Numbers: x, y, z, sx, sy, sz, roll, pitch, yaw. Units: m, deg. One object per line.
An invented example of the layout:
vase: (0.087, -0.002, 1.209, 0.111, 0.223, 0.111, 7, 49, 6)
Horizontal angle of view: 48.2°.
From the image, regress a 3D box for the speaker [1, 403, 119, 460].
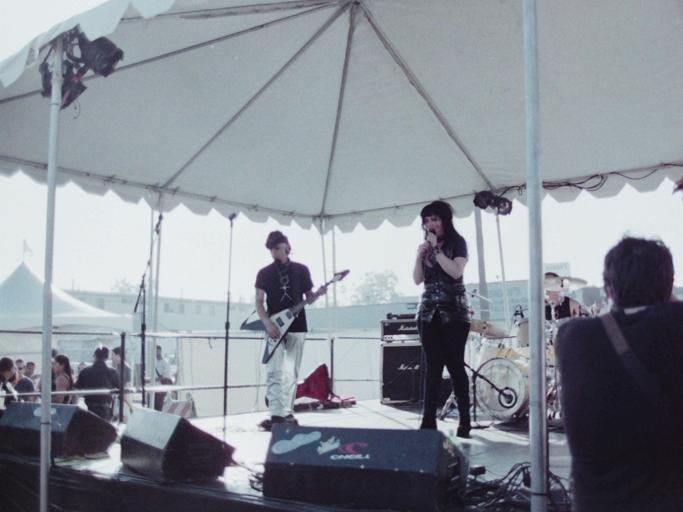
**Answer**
speaker: (-2.259, 1.363, 6.231, 0.728, 0.563, 0.613, -2, -9, 12)

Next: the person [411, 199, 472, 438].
person: (0.851, 0.491, 6.323, 0.480, 1.941, 0.573, 1, -9, -3)

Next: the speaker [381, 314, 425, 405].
speaker: (0.695, 1.180, 8.705, 0.463, 1.043, 0.459, 1, 1, 5)

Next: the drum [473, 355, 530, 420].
drum: (1.522, 1.241, 7.286, 0.416, 0.627, 0.418, 2, 1, 0)

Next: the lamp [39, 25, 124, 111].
lamp: (-2.006, -1.467, 5.999, 0.489, 0.702, 0.444, 5, 3, 28)

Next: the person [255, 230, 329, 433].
person: (-0.501, 0.621, 7.249, 0.599, 1.930, 0.586, 2, 2, -16)

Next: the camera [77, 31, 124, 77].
camera: (-1.870, -1.544, 5.925, 0.337, 0.301, 0.175, 3, -10, -14)

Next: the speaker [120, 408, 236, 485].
speaker: (-1.172, 1.338, 5.711, 0.690, 0.501, 0.710, 3, 0, -40)
